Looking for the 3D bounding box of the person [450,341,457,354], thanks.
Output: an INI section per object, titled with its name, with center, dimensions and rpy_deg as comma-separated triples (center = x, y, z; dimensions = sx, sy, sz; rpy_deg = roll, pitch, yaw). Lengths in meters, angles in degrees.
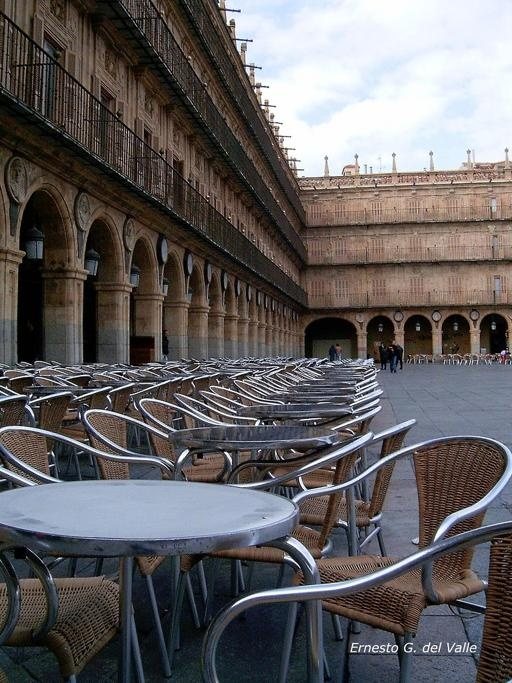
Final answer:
[person]
center = 16.350, 0.732, 58.263
dimensions = 0.556, 0.858, 0.255
rpy_deg = 14, 7, 37
